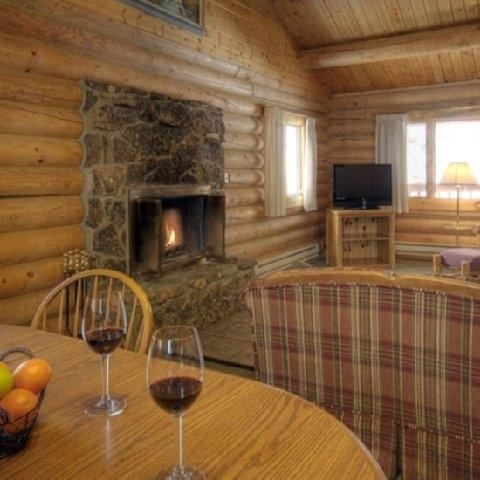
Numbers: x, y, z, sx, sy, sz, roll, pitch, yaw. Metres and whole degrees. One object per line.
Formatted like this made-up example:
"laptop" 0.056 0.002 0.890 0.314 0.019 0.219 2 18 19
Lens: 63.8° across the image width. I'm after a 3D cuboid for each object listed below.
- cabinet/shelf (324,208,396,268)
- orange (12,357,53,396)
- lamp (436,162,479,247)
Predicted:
"cabinet/shelf" 2.133 -0.042 6.804 0.877 1.019 0.345 -1 2 -13
"orange" -0.371 0.235 0.690 0.043 0.053 0.062 -12 -1 22
"lamp" 3.967 -0.688 6.945 0.648 1.522 0.998 2 0 29
